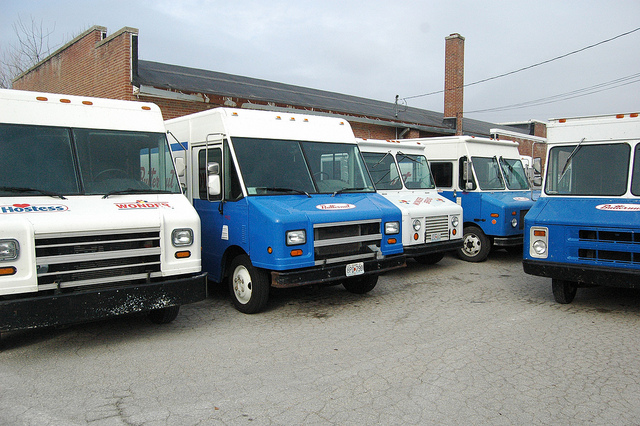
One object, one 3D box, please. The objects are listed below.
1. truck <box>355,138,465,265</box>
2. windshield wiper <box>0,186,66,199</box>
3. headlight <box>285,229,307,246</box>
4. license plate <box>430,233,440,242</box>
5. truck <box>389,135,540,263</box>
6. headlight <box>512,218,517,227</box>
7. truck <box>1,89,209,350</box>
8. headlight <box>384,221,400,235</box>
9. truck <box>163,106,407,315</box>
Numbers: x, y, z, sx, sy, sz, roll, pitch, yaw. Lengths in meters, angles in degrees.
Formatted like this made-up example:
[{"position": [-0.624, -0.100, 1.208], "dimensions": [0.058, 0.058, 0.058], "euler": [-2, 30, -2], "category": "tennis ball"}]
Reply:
[{"position": [2.548, -0.448, 13.089], "dimensions": [2.952, 3.425, 5.622], "euler": [-3, 6, 2], "category": "truck"}, {"position": [-4.105, -0.280, 5.977], "dimensions": [0.615, 0.090, 0.047], "euler": [14, 25, -39], "category": "windshield wiper"}, {"position": [-0.414, 0.403, 7.027], "dimensions": [0.459, 0.302, 0.227], "euler": [-2, 8, -33], "category": "headlight"}, {"position": [2.718, 0.581, 10.030], "dimensions": [0.304, 0.195, 0.165], "euler": [-3, 3, -32], "category": "license plate"}, {"position": [4.504, -0.470, 13.538], "dimensions": [3.349, 3.463, 5.005], "euler": [-7, 5, -32], "category": "truck"}, {"position": [5.053, 0.247, 11.080], "dimensions": [0.070, 0.230, 0.238], "euler": [-7, -7, 43], "category": "headlight"}, {"position": [-4.186, -0.050, 7.551], "dimensions": [3.084, 3.181, 4.224], "euler": [0, -4, -34], "category": "truck"}, {"position": [1.368, 0.294, 8.136], "dimensions": [0.415, 0.282, 0.221], "euler": [-1, 0, -39], "category": "headlight"}, {"position": [-1.499, -0.202, 9.873], "dimensions": [3.308, 3.694, 6.558], "euler": [-5, 6, -38], "category": "truck"}]
